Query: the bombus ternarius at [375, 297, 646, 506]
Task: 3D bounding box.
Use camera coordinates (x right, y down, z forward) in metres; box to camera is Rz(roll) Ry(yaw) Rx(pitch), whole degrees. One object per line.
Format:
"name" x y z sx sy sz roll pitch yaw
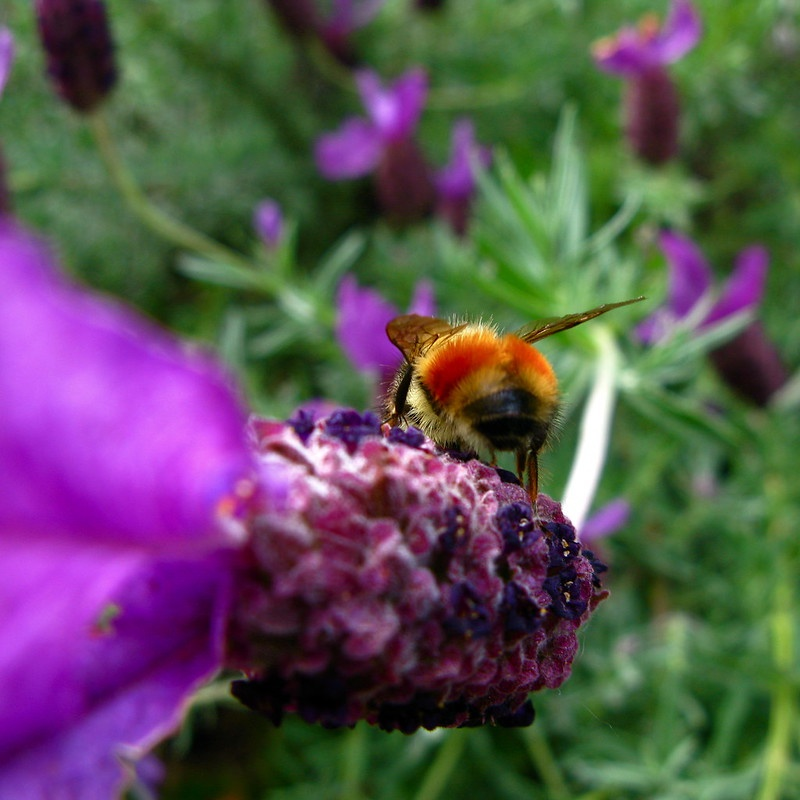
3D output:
"bombus ternarius" 0.074 -0.012 0.956 0.186 0.199 0.103 3 96 -18
